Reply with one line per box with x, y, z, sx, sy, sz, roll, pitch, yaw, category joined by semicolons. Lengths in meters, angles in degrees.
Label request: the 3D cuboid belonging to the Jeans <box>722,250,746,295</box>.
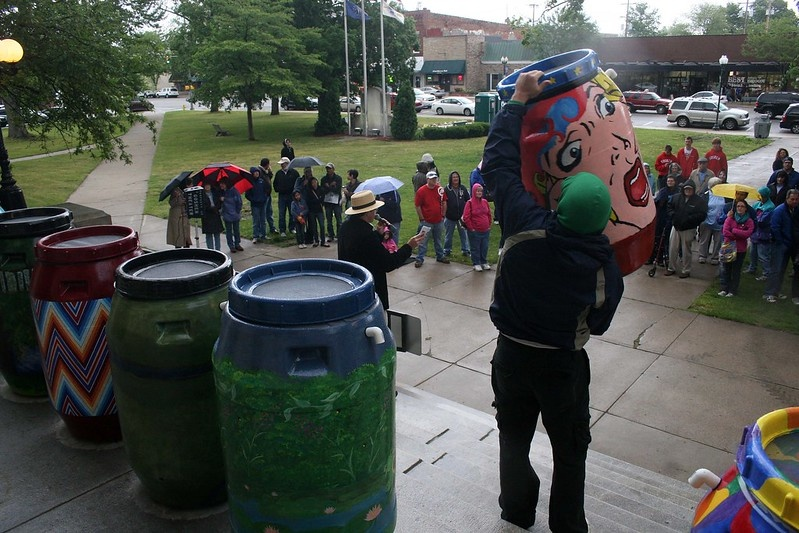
6.452;0.099;10.806;0.301;0.887;0.400;14;23;41;Jeans

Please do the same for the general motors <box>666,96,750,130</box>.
18.999;-9.246;34.782;4.565;1.905;2.225;6;23;26;general motors

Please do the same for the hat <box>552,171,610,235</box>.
1.255;-0.421;3.876;0.332;0.342;0.424;9;42;1;hat

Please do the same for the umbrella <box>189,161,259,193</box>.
-4.283;-2.087;13.432;1.386;0.703;0.505;-6;17;-15;umbrella

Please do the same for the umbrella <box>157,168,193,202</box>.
-4.856;-1.791;12.187;0.640;0.584;1.471;-8;18;-19;umbrella

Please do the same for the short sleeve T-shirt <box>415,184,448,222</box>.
0.719;-1.402;12.475;0.766;0.751;0.429;-11;15;-33;short sleeve T-shirt

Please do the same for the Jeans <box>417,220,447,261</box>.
0.717;-0.672;13.085;0.636;0.930;1.356;-1;17;2;Jeans
